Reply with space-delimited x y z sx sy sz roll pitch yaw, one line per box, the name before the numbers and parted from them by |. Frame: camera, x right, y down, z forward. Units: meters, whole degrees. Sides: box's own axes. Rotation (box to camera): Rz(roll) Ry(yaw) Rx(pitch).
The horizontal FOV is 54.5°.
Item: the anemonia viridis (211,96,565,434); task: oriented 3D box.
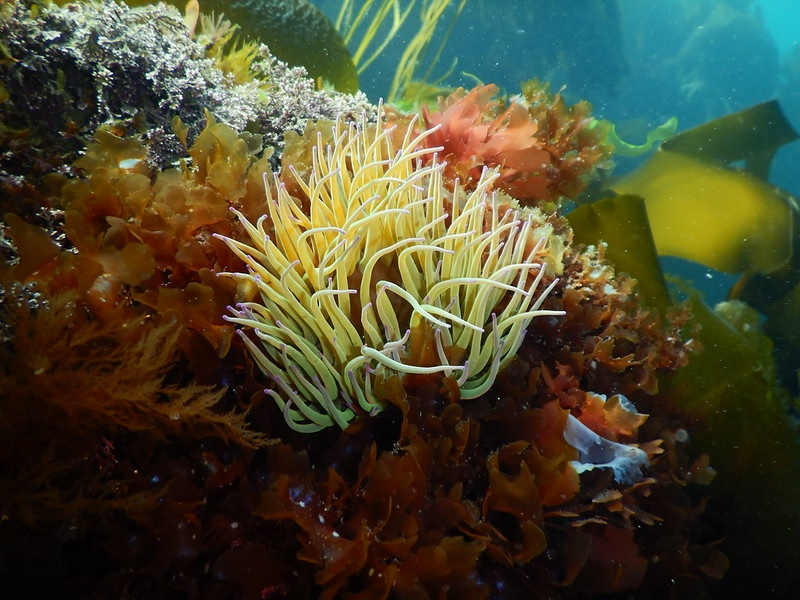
anemonia viridis | -0.002 0.038 2.427 0.856 0.573 0.939 -30 71 -4
